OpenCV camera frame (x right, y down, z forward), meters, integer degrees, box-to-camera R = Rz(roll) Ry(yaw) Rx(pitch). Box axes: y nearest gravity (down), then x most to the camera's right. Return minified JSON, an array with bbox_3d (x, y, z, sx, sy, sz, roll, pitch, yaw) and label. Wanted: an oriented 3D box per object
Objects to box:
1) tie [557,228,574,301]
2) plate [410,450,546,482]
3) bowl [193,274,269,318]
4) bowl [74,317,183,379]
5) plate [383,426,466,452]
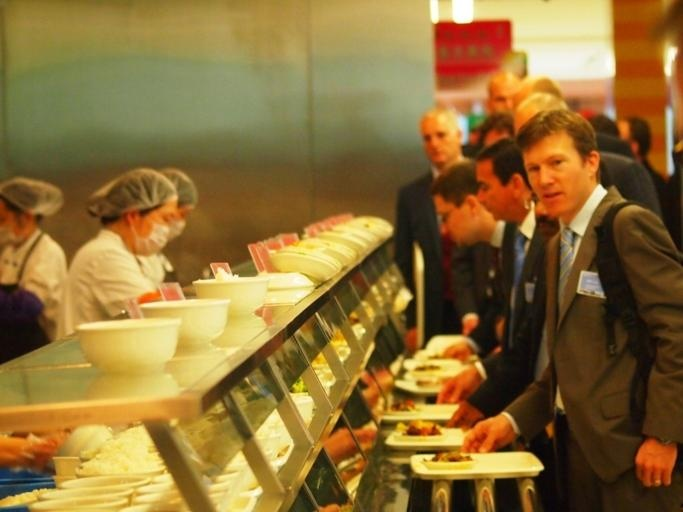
[{"bbox_3d":[0.862,0.027,2.249,0.078,0.274,0.146,-3,11,20],"label":"tie"},{"bbox_3d":[0.479,0.751,2.082,0.294,0.030,0.190,-1,-3,0],"label":"plate"},{"bbox_3d":[-0.321,0.116,1.717,0.215,0.102,0.209,-5,0,0],"label":"bowl"},{"bbox_3d":[-0.420,0.186,1.179,0.222,0.097,0.210,-4,-5,0],"label":"bowl"},{"bbox_3d":[0.366,0.784,2.556,0.314,0.070,0.261,-5,9,14],"label":"plate"}]
